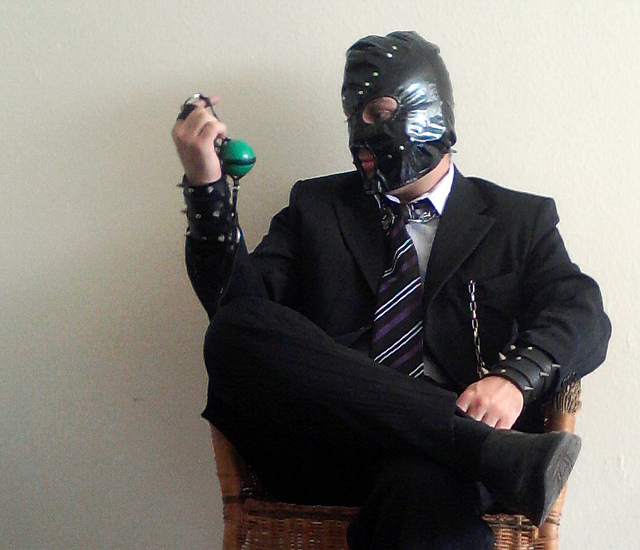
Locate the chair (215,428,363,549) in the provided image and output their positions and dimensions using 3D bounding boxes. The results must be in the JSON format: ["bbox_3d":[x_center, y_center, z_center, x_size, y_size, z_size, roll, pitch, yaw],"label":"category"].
[{"bbox_3d":[-0.068,0.546,2.576,0.338,0.401,0.232,1,-8,4],"label":"chair"}]

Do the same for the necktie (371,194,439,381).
[{"bbox_3d":[0.234,0.023,2.716,0.170,0.408,0.254,5,2,3],"label":"necktie"}]

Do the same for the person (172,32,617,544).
[{"bbox_3d":[0.250,0.061,2.644,0.857,1.688,0.903,-6,-36,21],"label":"person"}]

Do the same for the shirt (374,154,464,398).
[{"bbox_3d":[0.292,-0.018,2.637,0.309,0.510,0.127,-1,-12,14],"label":"shirt"}]

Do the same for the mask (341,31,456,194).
[{"bbox_3d":[0.219,-0.462,2.827,0.304,0.482,0.293,-3,-4,-31],"label":"mask"}]
